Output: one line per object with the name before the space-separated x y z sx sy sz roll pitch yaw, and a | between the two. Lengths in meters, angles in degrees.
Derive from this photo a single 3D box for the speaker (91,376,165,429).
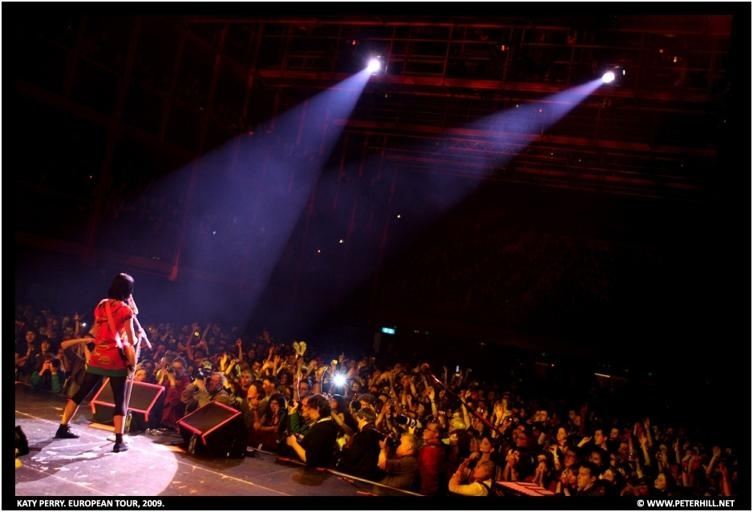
speaker | -3.658 2.161 7.021 0.924 0.607 0.588 -4 -22 20

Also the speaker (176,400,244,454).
speaker | -2.339 2.456 6.809 0.911 0.719 0.462 10 -19 16

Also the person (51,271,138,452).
person | -3.565 1.388 6.463 0.828 2.219 0.529 15 -18 3

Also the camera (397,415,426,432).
camera | 0.530 2.561 7.336 0.252 0.113 0.367 6 -9 25

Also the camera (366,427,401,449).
camera | 0.123 2.620 6.925 0.412 0.221 0.979 10 -19 14

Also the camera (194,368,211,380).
camera | -2.837 1.936 7.834 0.193 0.060 0.190 7 -3 3

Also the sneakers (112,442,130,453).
sneakers | -3.401 2.548 6.402 0.126 0.137 0.213 7 -20 24
